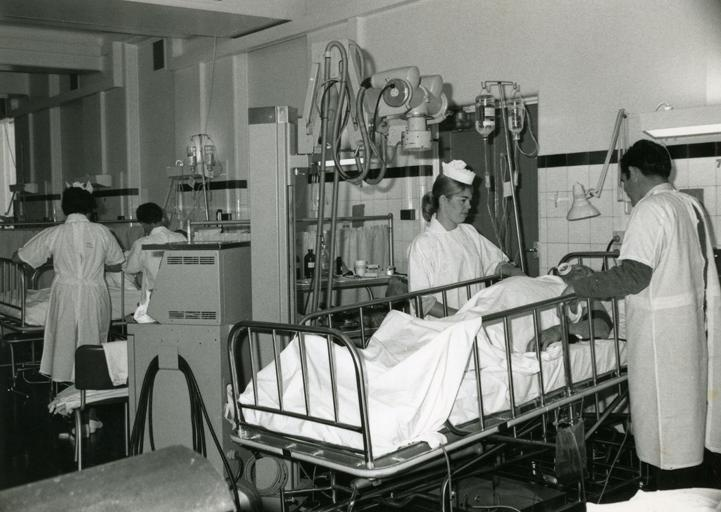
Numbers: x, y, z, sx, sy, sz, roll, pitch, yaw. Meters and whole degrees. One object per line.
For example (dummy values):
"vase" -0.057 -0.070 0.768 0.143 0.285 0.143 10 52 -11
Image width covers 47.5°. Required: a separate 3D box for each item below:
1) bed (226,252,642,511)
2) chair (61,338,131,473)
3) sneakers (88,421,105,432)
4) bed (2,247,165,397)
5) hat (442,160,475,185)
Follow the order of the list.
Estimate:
"bed" 0.516 0.570 4.816 0.991 0.466 1.773 11 19 42
"chair" -1.832 0.988 5.736 0.377 0.889 0.983 -4 6 -20
"sneakers" -2.038 1.318 6.314 0.047 0.066 0.148 0 -8 6
"bed" -2.241 0.441 7.024 1.064 1.385 1.495 -1 1 -34
"hat" 0.699 -0.539 5.685 0.169 0.111 0.213 31 11 25
